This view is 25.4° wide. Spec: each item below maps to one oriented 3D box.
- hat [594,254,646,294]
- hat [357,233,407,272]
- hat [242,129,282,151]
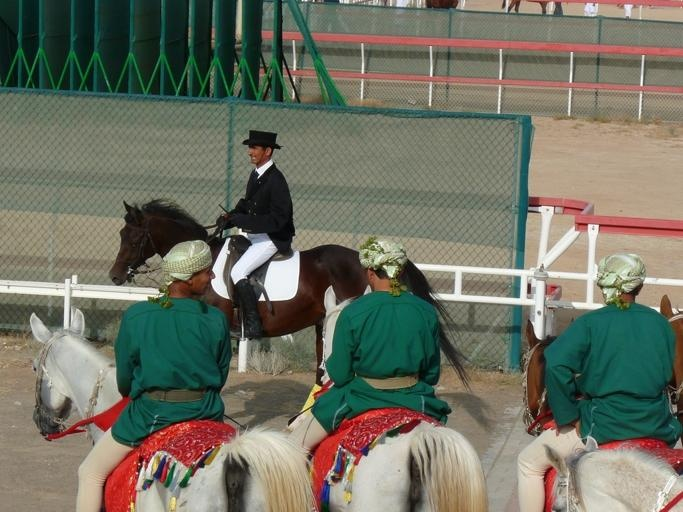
[{"bbox_3d":[2.950,0.194,16.151,0.360,0.332,0.452,2,2,-1],"label":"hat"},{"bbox_3d":[0.498,-0.023,16.084,0.381,0.187,0.401,15,20,32],"label":"hat"},{"bbox_3d":[-1.017,-1.473,19.315,0.464,0.224,0.392,3,7,1],"label":"hat"}]
